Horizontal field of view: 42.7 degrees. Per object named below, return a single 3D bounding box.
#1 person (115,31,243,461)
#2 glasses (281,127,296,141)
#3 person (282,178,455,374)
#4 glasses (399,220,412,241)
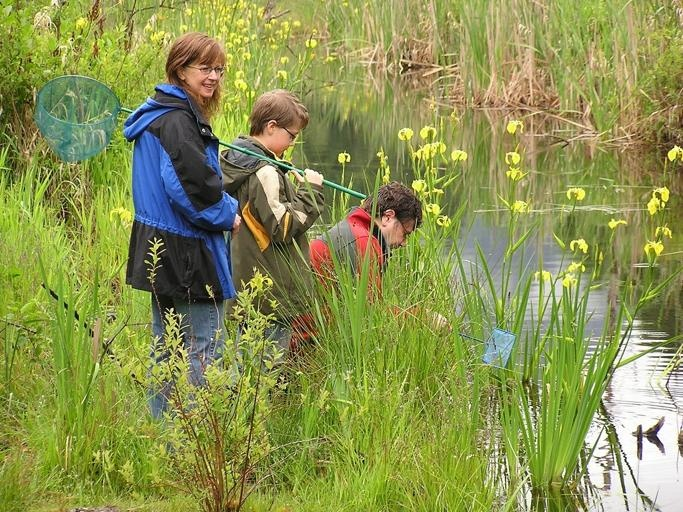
[{"bbox_3d":[-0.820,-0.166,4.471,0.614,1.792,0.539,1,-1,-14],"label":"person"},{"bbox_3d":[-0.307,-0.707,5.031,0.069,0.020,0.064,51,16,22],"label":"glasses"},{"bbox_3d":[0.151,0.278,5.131,0.878,1.397,0.530,12,-13,6],"label":"person"},{"bbox_3d":[0.379,-0.150,5.197,0.026,0.103,0.089,6,2,-6],"label":"glasses"}]
